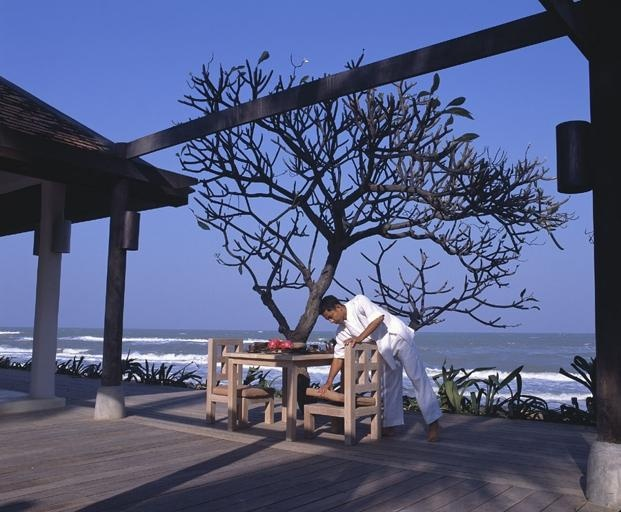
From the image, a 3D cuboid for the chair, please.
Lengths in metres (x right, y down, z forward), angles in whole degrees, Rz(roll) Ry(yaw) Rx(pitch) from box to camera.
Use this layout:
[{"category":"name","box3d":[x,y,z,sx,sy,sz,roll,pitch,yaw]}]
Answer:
[{"category":"chair","box3d":[-0.229,1.447,5.814,1.841,0.973,0.992,-9,-12,40]}]

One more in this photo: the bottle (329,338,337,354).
[{"category":"bottle","box3d":[0.248,1.045,6.116,0.050,0.152,0.101,6,-4,-20]}]

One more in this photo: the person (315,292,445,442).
[{"category":"person","box3d":[0.752,1.185,5.584,1.170,1.714,0.858,-7,-4,-5]}]
